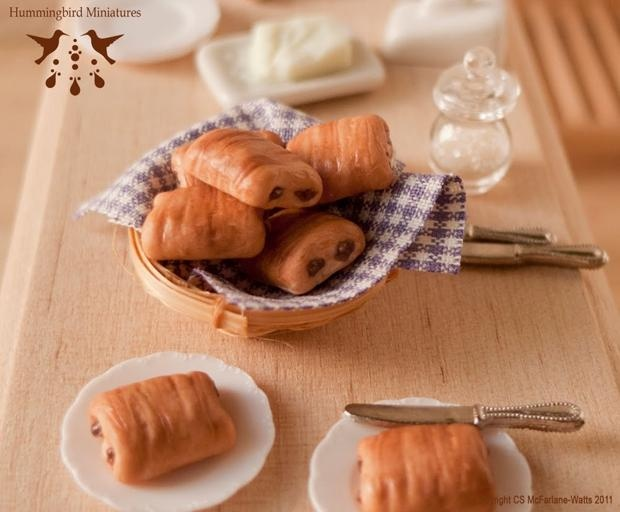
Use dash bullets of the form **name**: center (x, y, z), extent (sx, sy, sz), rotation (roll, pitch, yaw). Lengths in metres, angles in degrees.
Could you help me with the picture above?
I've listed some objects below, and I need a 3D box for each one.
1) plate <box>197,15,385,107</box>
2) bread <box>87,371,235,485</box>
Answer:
- **plate**: center (-0.043, -0.368, 1.393), extent (0.336, 0.093, 0.201), rotation (-12, 56, -3)
- **bread**: center (-0.183, 0.209, 0.897), extent (0.163, 0.059, 0.129), rotation (-18, 56, -7)
